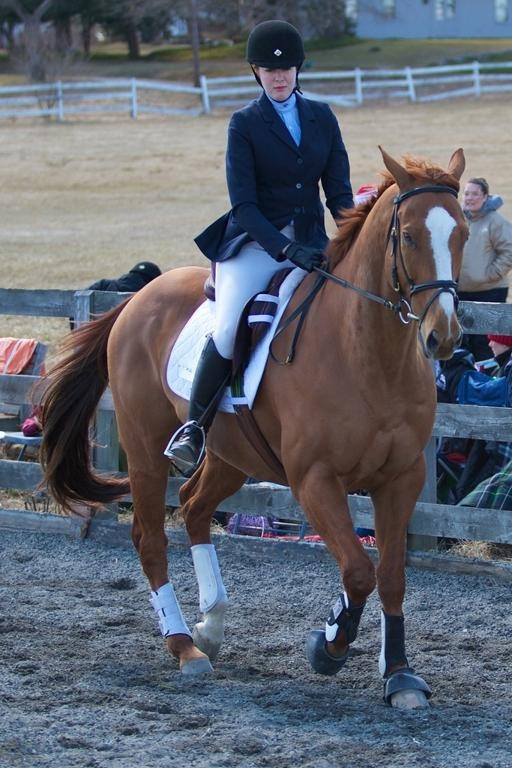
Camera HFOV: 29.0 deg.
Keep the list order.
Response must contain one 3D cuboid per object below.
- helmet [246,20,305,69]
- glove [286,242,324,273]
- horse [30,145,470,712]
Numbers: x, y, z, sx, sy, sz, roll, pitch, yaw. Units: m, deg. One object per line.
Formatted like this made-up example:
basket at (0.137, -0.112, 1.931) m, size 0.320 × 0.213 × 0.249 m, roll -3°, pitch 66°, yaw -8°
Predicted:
helmet at (0.082, -1.378, 4.032) m, size 0.203 × 0.175 × 0.228 m, roll 0°, pitch 49°, yaw -3°
glove at (0.201, -0.516, 4.026) m, size 0.171 × 0.050 × 0.093 m, roll 29°, pitch 47°, yaw 16°
horse at (0.070, 0.251, 4.441) m, size 0.914 × 2.158 × 2.997 m, roll 5°, pitch -4°, yaw -37°
